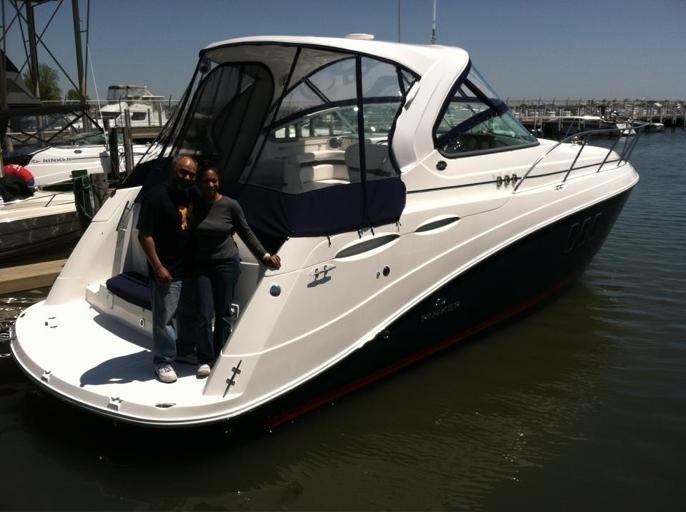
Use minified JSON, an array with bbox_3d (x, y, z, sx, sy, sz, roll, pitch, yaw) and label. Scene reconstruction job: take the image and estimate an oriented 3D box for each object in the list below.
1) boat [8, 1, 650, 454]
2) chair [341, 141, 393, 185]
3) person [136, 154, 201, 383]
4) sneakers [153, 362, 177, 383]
[{"bbox_3d":[0.303,-0.738,5.674,6.559,2.603,3.093,-19,26,-40],"label":"boat"},{"bbox_3d":[0.289,-0.987,5.468,0.522,0.485,0.389,-6,11,-37],"label":"chair"},{"bbox_3d":[-1.387,0.120,4.305,0.483,1.818,0.357,-8,17,-26],"label":"person"},{"bbox_3d":[-1.473,0.966,4.370,0.211,0.090,0.108,19,21,41],"label":"sneakers"}]
